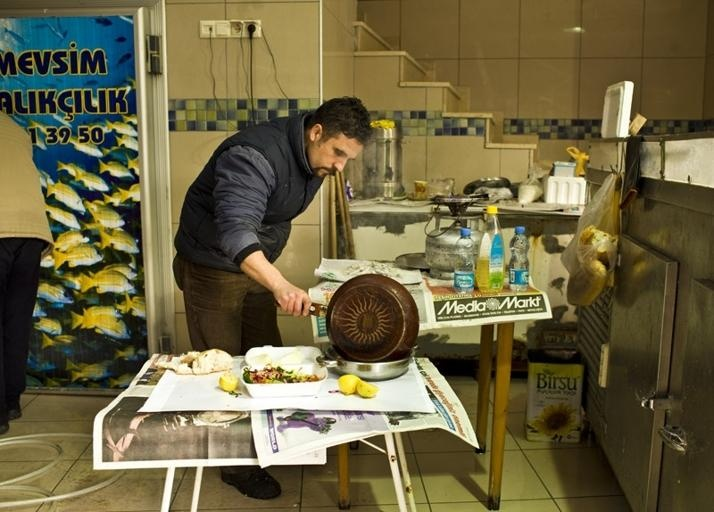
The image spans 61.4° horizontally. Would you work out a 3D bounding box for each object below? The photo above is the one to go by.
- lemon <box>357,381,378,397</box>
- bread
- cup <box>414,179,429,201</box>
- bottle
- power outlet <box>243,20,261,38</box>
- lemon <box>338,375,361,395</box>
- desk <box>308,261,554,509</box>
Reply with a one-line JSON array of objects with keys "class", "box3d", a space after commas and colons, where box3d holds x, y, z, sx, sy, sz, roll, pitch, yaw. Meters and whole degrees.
[{"class": "lemon", "box3d": [0.036, 0.485, 2.176, 0.058, 0.039, 0.060, 14, -4, 5]}, {"class": "bread", "box3d": [1.200, 0.062, 3.028, 0.209, 0.411, 0.229, -1, 11, 5]}, {"class": "cup", "box3d": [0.510, -0.535, 4.826, 0.134, 0.151, 0.136, -2, 3, 0]}, {"class": "bottle", "box3d": [0.652, -0.040, 2.903, 0.422, 0.399, 0.284, -5, 11, -14]}, {"class": "power outlet", "box3d": [-0.661, -1.443, 3.835, 0.120, 0.112, 0.033, -4, 11, -10]}, {"class": "lemon", "box3d": [-0.030, 0.468, 2.195, 0.076, 0.058, 0.059, -11, 12, -16]}, {"class": "desk", "box3d": [0.394, 0.571, 3.402, 1.294, 1.190, 1.096, 0, 11, 3]}]
